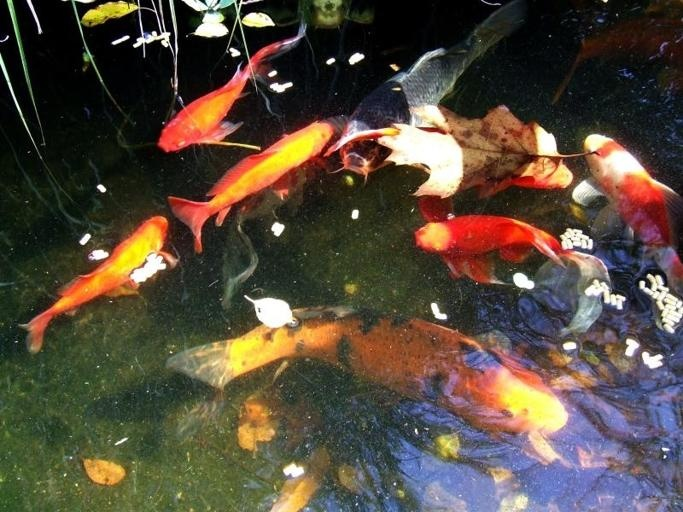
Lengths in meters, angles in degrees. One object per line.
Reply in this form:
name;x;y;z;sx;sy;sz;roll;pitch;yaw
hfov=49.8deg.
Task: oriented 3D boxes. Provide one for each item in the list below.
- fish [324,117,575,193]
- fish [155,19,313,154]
fish;0.574;-0.465;3.319;0.924;0.287;0.312;-4;44;-3
fish;-0.591;-0.771;3.646;0.262;0.414;1.089;39;80;-6
